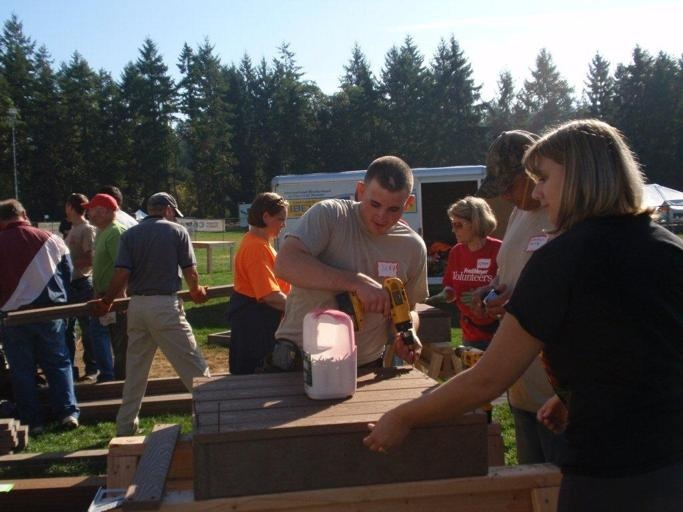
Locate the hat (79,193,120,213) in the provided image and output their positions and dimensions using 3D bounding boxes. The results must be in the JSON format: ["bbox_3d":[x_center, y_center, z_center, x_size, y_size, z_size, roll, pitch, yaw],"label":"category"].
[{"bbox_3d":[-2.429,-0.533,7.051,0.284,0.179,0.188,-1,2,0],"label":"hat"}]

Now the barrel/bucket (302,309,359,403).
[{"bbox_3d":[-0.071,0.452,3.447,0.258,0.418,0.386,0,8,-11],"label":"barrel/bucket"}]

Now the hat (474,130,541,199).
[{"bbox_3d":[1.011,-0.566,4.334,0.430,0.271,0.313,-42,15,7],"label":"hat"}]

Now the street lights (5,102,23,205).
[{"bbox_3d":[-18.926,-5.750,40.399,0.721,8.859,0.943,-3,7,-21],"label":"street lights"}]
